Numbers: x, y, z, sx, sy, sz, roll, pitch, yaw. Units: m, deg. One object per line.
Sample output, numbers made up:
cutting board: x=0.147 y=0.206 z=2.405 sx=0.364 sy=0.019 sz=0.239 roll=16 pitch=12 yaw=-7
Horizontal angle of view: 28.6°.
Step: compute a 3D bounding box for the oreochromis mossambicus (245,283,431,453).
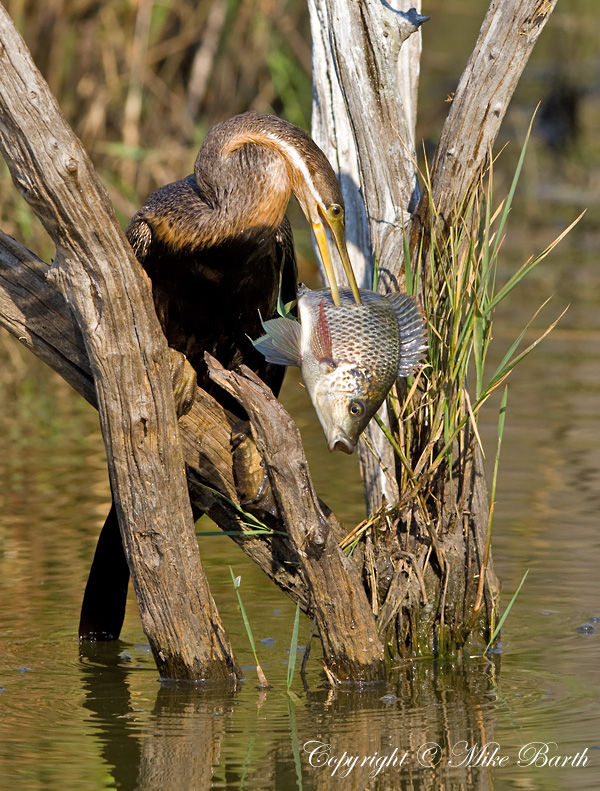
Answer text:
oreochromis mossambicus: x=0.111 y=-0.070 z=2.860 sx=0.420 sy=0.386 sz=0.275 roll=-4 pitch=9 yaw=-9
